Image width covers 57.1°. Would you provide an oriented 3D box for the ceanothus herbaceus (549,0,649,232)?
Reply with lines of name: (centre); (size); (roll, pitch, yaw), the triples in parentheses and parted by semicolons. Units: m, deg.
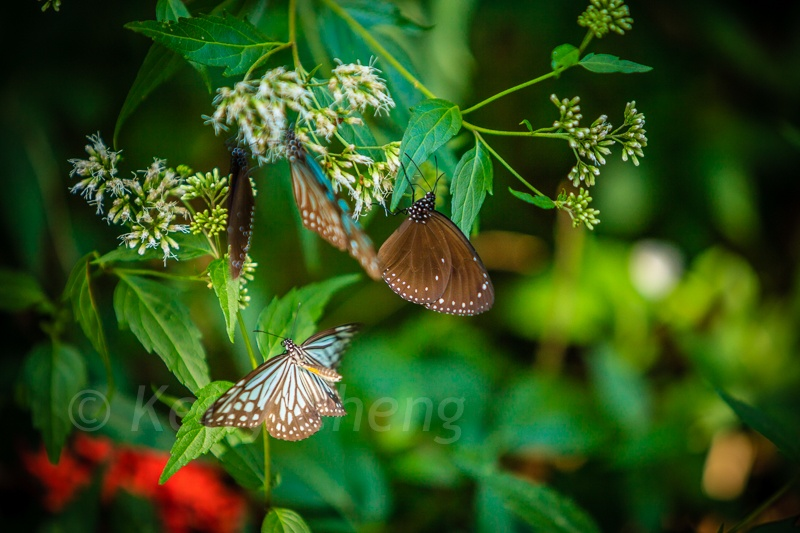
ceanothus herbaceus: (0.625, -0.456, 2.284); (0.287, 0.723, 0.435); (1, 10, 14)
